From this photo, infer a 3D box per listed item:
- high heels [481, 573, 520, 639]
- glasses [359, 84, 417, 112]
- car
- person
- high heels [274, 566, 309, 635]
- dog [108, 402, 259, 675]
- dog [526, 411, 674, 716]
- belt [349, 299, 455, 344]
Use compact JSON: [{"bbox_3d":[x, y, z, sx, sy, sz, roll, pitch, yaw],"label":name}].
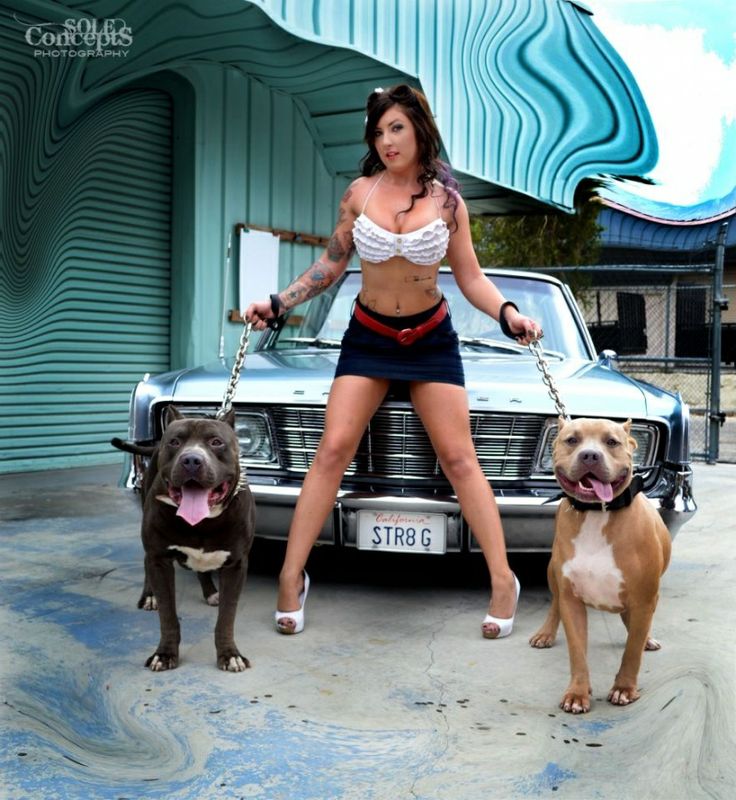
[{"bbox_3d":[0.490,0.822,2.788,0.108,0.267,0.113,6,-15,40],"label":"high heels"},{"bbox_3d":[0.088,-1.099,2.624,0.125,0.064,0.149,-3,8,12],"label":"glasses"},{"bbox_3d":[0.286,0.120,3.599,1.804,0.863,2.517,1,0,14],"label":"car"},{"bbox_3d":[0.111,-0.121,2.821,1.068,2.084,0.439,3,4,6],"label":"person"},{"bbox_3d":[-0.287,0.814,2.817,0.098,0.086,0.262,3,18,5],"label":"high heels"},{"bbox_3d":[-0.634,0.466,2.455,0.475,0.877,0.960,1,3,-18],"label":"dog"},{"bbox_3d":[0.737,0.493,2.213,0.374,0.886,0.590,4,4,17],"label":"dog"},{"bbox_3d":[0.123,-0.288,2.743,0.331,0.166,0.118,2,4,-5],"label":"belt"}]
